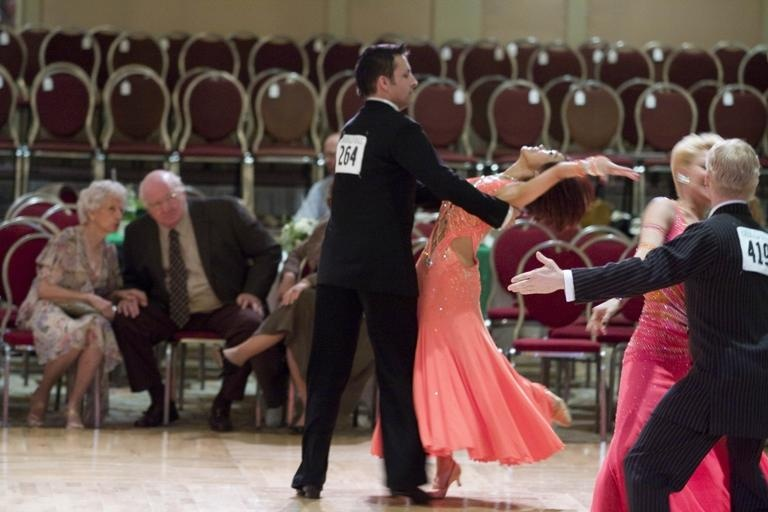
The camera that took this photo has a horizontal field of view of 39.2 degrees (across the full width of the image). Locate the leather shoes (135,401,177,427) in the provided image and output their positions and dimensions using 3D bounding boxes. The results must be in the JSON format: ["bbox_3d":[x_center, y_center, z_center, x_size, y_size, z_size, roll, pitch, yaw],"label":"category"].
[{"bbox_3d":[-1.579,1.102,7.437,0.300,0.125,0.128,0,-3,-12],"label":"leather shoes"}]

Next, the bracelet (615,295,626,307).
[{"bbox_3d":[1.317,0.247,5.985,0.055,0.042,0.056,0,-3,8],"label":"bracelet"}]

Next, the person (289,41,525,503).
[{"bbox_3d":[0.014,0.283,6.047,0.931,2.215,0.451,4,12,7],"label":"person"}]

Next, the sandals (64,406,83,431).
[{"bbox_3d":[-2.083,1.078,7.214,0.112,0.129,0.087,0,11,-12],"label":"sandals"}]

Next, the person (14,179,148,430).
[{"bbox_3d":[-2.111,0.314,7.276,0.723,1.614,0.537,-1,12,-19],"label":"person"}]

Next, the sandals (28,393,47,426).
[{"bbox_3d":[-2.343,1.036,7.242,0.086,0.246,0.067,4,-6,-25],"label":"sandals"}]

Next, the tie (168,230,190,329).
[{"bbox_3d":[-1.438,0.146,7.472,0.139,0.661,0.194,0,12,-12],"label":"tie"}]
